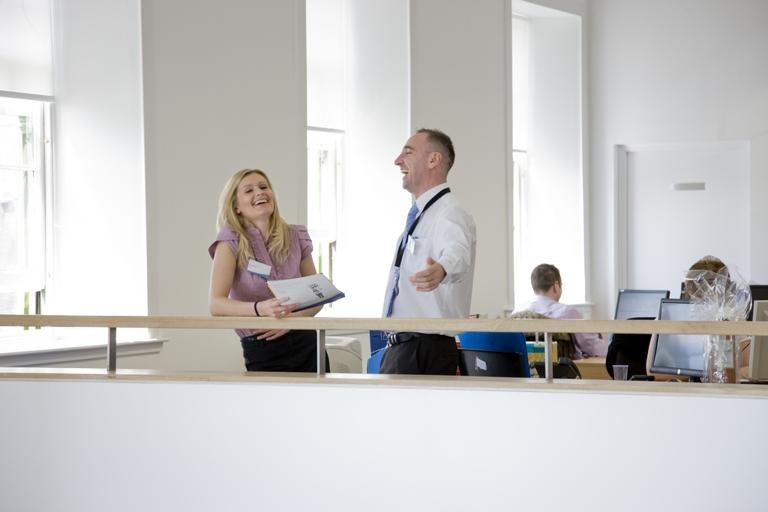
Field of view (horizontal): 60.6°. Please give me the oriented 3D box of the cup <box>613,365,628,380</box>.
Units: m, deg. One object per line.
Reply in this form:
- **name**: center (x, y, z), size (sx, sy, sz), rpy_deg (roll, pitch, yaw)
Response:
- **cup**: center (1.087, 0.540, 3.031), size (0.048, 0.064, 0.158), rpy_deg (0, 0, 29)

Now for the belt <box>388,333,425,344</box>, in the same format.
- **belt**: center (0.089, 0.369, 2.937), size (0.155, 0.061, 0.034), rpy_deg (0, 0, 36)

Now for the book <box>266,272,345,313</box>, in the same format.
- **book**: center (-0.336, 0.141, 2.749), size (0.238, 0.065, 0.179), rpy_deg (-9, 16, -21)

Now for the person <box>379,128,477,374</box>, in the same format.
- **person**: center (0.193, -0.042, 2.968), size (0.429, 1.169, 0.621), rpy_deg (0, 0, 7)

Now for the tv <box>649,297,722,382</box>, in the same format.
- **tv**: center (1.586, 0.474, 3.579), size (0.277, 0.470, 0.697), rpy_deg (0, 0, 23)

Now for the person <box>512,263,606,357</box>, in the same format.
- **person**: center (1.357, 0.398, 5.157), size (0.832, 0.791, 0.487), rpy_deg (1, 8, 34)

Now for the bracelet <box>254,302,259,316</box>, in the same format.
- **bracelet**: center (-0.568, 0.235, 2.903), size (0.013, 0.054, 0.041), rpy_deg (-3, 4, -8)

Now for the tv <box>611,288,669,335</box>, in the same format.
- **tv**: center (1.824, 0.378, 4.667), size (0.068, 0.335, 0.450), rpy_deg (18, -14, -37)

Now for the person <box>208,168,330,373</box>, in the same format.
- **person**: center (-0.541, 0.047, 3.048), size (0.524, 0.995, 0.742), rpy_deg (0, 0, -15)

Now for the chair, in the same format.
- **chair**: center (1.136, 0.612, 4.590), size (0.400, 0.451, 1.196), rpy_deg (0, 0, 15)
